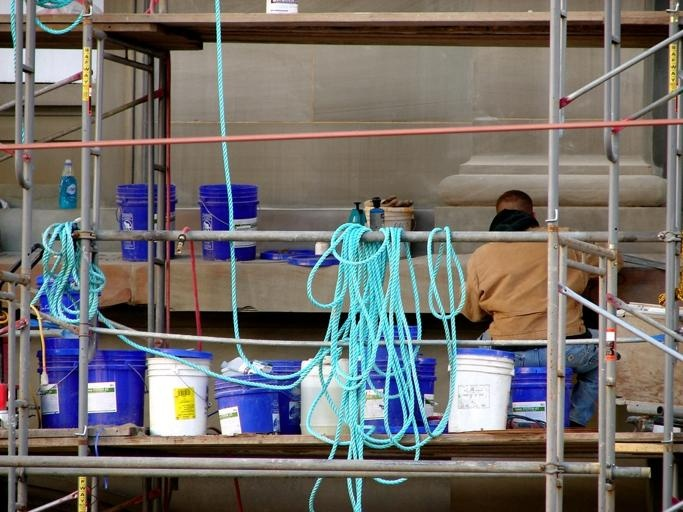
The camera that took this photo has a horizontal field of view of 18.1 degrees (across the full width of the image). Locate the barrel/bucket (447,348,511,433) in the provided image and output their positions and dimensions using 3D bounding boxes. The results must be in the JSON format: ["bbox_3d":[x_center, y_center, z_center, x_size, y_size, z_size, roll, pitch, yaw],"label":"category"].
[{"bbox_3d":[1.030,1.056,16.134,0.482,0.654,0.294,0,-15,1],"label":"barrel/bucket"}]

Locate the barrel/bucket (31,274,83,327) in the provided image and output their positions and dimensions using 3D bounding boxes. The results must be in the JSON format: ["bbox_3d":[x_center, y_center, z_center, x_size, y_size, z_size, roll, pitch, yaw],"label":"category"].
[{"bbox_3d":[-2.269,0.396,16.961,0.481,0.421,0.469,-1,1,0],"label":"barrel/bucket"}]

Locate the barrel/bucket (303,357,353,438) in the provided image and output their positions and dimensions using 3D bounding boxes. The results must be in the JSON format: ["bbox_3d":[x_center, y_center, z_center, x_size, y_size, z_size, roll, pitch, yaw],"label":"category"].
[{"bbox_3d":[-0.134,1.089,16.046,0.369,0.667,0.699,1,-14,-1],"label":"barrel/bucket"}]

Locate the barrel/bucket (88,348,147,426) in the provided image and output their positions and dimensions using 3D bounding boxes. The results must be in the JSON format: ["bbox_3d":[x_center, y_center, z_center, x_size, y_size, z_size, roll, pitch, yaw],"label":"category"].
[{"bbox_3d":[-1.701,1.041,16.299,0.578,0.708,0.547,0,-4,0],"label":"barrel/bucket"}]

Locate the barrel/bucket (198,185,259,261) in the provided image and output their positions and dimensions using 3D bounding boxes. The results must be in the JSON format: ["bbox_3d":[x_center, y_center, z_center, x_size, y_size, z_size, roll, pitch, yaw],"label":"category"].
[{"bbox_3d":[-0.923,-0.254,17.901,0.637,0.620,0.637,-1,4,0],"label":"barrel/bucket"}]

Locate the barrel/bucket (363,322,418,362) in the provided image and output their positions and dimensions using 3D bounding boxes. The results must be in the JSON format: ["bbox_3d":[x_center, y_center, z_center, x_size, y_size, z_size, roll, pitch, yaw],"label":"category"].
[{"bbox_3d":[0.369,0.698,16.495,0.319,0.478,0.305,-1,1,0],"label":"barrel/bucket"}]

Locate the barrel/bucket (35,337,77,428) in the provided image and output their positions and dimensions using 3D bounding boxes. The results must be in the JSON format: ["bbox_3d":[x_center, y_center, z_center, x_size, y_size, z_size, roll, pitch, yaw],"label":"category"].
[{"bbox_3d":[-2.160,0.998,16.364,0.333,0.756,0.355,1,-15,0],"label":"barrel/bucket"}]

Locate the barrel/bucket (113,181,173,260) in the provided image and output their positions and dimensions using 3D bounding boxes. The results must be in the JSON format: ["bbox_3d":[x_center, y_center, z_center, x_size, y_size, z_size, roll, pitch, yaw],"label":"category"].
[{"bbox_3d":[-1.726,-0.260,17.938,0.595,0.587,0.628,-1,0,0],"label":"barrel/bucket"}]

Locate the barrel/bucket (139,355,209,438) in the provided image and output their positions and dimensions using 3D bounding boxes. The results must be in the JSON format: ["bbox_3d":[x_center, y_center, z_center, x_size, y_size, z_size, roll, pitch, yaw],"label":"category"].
[{"bbox_3d":[-1.312,1.103,16.397,0.607,0.628,0.606,2,-6,0],"label":"barrel/bucket"}]

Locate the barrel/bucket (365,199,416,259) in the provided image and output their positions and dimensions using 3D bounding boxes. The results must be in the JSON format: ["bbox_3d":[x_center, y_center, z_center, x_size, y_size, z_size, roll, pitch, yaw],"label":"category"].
[{"bbox_3d":[0.465,-0.218,18.684,0.538,0.468,0.486,1,2,7],"label":"barrel/bucket"}]

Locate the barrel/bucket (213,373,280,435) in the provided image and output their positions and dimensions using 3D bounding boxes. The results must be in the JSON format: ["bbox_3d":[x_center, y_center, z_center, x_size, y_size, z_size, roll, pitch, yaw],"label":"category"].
[{"bbox_3d":[-0.722,1.188,16.281,0.514,0.339,0.415,-2,-4,9],"label":"barrel/bucket"}]
